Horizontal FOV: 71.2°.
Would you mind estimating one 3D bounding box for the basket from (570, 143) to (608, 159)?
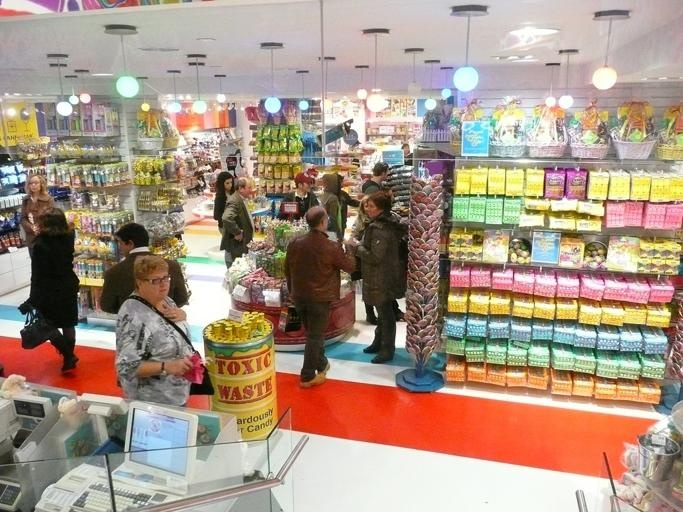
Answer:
[{"bbox_3d":[2.631,-1.123,5.095,0.353,0.169,0.170,4,15,18],"label":"basket"}]

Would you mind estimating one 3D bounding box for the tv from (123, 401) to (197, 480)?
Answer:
[{"bbox_3d":[-1.091,1.128,2.869,0.384,0.261,0.038,5,-23,19],"label":"tv"}]

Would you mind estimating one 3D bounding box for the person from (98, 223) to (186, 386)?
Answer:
[{"bbox_3d":[-2.099,0.651,4.840,0.867,1.913,0.651,-5,21,-43],"label":"person"}]

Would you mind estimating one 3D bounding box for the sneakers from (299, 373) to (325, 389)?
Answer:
[{"bbox_3d":[-0.330,1.452,5.523,0.305,0.120,0.113,-18,29,-36],"label":"sneakers"}]

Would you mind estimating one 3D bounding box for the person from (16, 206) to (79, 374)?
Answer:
[{"bbox_3d":[-3.507,0.445,5.751,0.669,2.025,0.506,-9,16,-28],"label":"person"}]

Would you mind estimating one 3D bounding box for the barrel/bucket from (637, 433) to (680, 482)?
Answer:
[{"bbox_3d":[1.864,1.192,2.818,0.225,0.212,0.207,-1,14,0],"label":"barrel/bucket"}]

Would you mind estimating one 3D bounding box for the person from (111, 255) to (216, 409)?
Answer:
[{"bbox_3d":[-1.401,0.608,3.600,0.585,1.208,0.413,-8,15,-24],"label":"person"}]

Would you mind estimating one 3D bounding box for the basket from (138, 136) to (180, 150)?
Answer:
[{"bbox_3d":[-2.893,-1.784,7.563,0.210,0.184,0.733,4,15,19],"label":"basket"}]

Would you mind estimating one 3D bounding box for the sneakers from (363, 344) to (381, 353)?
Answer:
[{"bbox_3d":[0.392,1.222,6.240,0.237,0.153,0.083,1,10,-1],"label":"sneakers"}]

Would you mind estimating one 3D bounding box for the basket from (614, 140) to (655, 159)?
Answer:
[{"bbox_3d":[3.047,-1.117,4.993,0.371,0.199,0.205,7,16,28],"label":"basket"}]

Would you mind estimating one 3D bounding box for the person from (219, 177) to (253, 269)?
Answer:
[{"bbox_3d":[-1.739,-0.566,7.815,0.673,1.794,0.852,-2,43,-10],"label":"person"}]
